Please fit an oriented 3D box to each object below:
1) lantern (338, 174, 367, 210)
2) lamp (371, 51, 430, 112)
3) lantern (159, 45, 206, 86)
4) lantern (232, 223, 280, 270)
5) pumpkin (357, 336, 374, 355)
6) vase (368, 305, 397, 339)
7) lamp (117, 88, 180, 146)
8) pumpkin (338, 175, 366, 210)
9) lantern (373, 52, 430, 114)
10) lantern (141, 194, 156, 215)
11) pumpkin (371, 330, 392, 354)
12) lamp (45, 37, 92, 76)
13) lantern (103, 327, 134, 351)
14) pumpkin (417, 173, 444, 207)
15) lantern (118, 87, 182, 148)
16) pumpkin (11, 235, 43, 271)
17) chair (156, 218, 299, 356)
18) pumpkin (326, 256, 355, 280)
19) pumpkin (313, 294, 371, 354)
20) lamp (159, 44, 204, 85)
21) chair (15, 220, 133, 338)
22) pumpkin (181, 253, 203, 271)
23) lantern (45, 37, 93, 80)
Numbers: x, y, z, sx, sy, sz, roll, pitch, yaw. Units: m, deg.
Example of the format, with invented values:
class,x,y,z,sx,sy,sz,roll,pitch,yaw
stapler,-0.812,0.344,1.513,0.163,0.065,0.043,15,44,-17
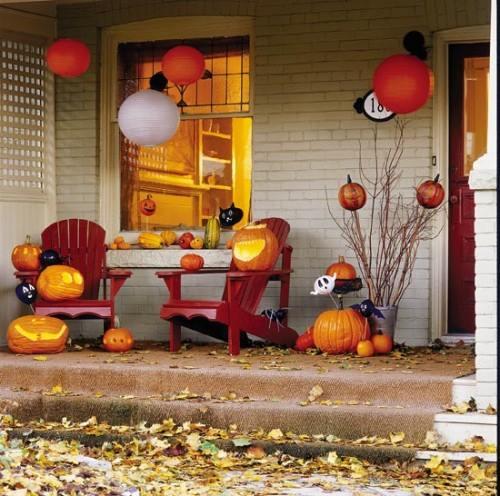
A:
class,x,y,z,sx,sy,sz,roll,pitch,yaw
lantern,0.740,-0.402,4.672,0.173,0.246,0.159,1,1,33
lamp,1.021,-1.101,4.298,0.383,0.362,0.224,1,1,8
lantern,-0.484,-1.338,4.777,0.282,0.258,0.244,9,10,44
lantern,0.034,-0.006,4.604,0.332,0.333,0.263,1,1,0
pumpkin,0.778,0.661,4.340,0.108,0.112,0.101,-4,-1,14
vase,0.966,0.522,4.588,0.242,0.215,0.213,-1,0,15
lamp,-0.724,-0.954,4.765,0.412,0.393,0.335,-4,10,-40
pumpkin,0.744,-0.402,4.677,0.173,0.246,0.170,1,1,33
lantern,1.033,-1.106,4.367,0.416,0.356,0.305,3,8,18
lantern,-0.903,-0.385,5.681,0.155,0.194,0.145,-1,1,-37
pumpkin,0.882,0.646,4.463,0.148,0.128,0.136,-2,12,-9
lamp,-1.352,-1.414,4.739,0.301,0.273,0.202,0,1,-4
lantern,-0.924,0.631,4.481,0.186,0.150,0.171,-1,-11,-1
pumpkin,1.270,-0.398,4.534,0.162,0.229,0.128,0,1,-14
lantern,-0.723,-0.937,4.742,0.467,0.418,0.406,-1,5,6
pumpkin,-1.788,0.033,5.025,0.282,0.317,0.287,0,3,-41
chair,-0.126,0.268,4.676,0.665,0.990,1.058,1,2,33
pumpkin,0.677,0.141,4.855,0.197,0.161,0.192,-1,3,-5
pumpkin,0.613,0.552,4.442,0.337,0.267,0.329,-5,-3,37
lamp,-0.523,-1.342,4.785,0.293,0.296,0.276,-2,4,-15
chair,-1.309,0.208,5.058,1.003,1.151,0.953,0,-2,-13
pumpkin,-0.434,0.103,4.778,0.143,0.110,0.134,3,8,10
lantern,-1.371,-1.423,4.821,0.360,0.287,0.341,-2,13,-13
